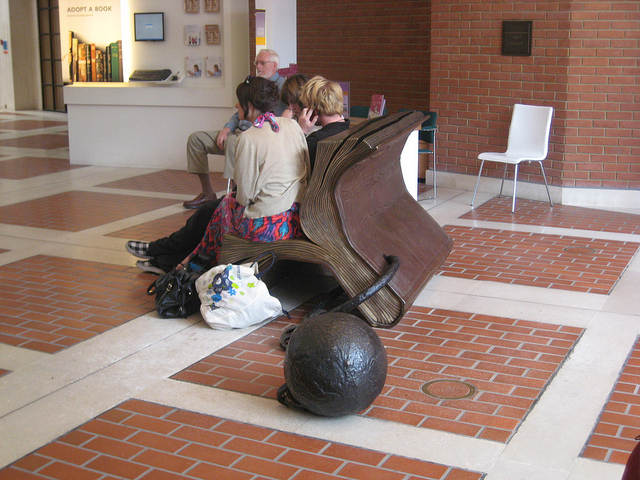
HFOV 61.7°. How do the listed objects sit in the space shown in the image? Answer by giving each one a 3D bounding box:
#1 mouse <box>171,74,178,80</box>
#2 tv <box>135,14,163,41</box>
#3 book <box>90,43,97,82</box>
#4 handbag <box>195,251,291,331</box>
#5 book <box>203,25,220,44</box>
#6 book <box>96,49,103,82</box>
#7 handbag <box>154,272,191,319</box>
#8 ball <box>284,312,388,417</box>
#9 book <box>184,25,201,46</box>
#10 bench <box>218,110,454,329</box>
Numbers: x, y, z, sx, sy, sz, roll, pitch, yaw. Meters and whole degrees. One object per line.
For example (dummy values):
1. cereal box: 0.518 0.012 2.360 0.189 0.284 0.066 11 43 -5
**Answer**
1. mouse: -2.685 -3.006 9.847 0.109 0.049 0.091 -1 5 5
2. tv: -3.168 -3.976 9.957 0.688 0.432 0.080 2 3 17
3. book: -5.481 -4.322 12.948 0.170 0.787 0.807 -6 19 -21
4. handbag: -0.554 0.378 3.759 0.620 0.463 0.212 0 19 -6
5. book: -1.948 -3.695 9.612 0.303 0.322 0.085 9 21 23
6. book: -5.240 -4.161 12.740 0.182 0.729 0.510 -6 20 -20
7. handbag: -1.095 0.407 3.988 0.253 0.328 0.199 -3 19 -13
8. ball: 0.048 0.599 2.939 0.773 0.443 0.599 4 16 -3
9. book: -2.320 -3.727 9.740 0.326 0.358 0.063 7 20 17
10. bench: 0.157 -0.145 4.436 2.230 1.180 1.944 -2 17 28
